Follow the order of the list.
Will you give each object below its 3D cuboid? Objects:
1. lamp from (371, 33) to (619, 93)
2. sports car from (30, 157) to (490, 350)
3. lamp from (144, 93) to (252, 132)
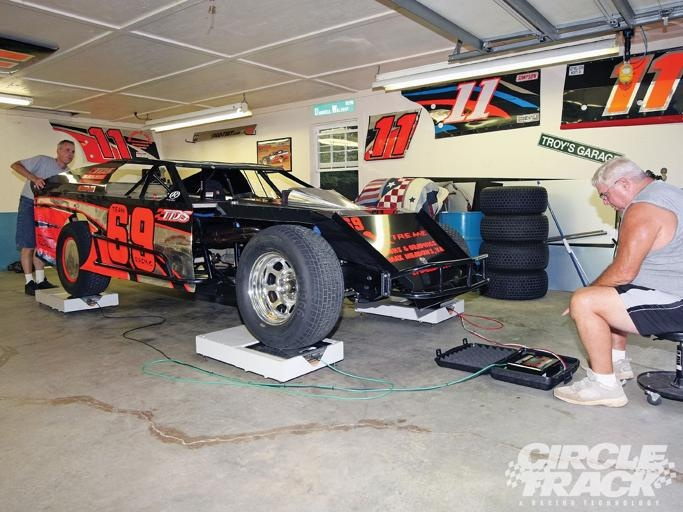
[{"bbox_3d":[2.056,-2.437,5.935,2.810,0.459,1.246,8,15,35],"label":"lamp"},{"bbox_3d":[-1.296,-0.148,4.654,4.612,0.956,2.039,5,7,31],"label":"sports car"},{"bbox_3d":[-2.564,-2.499,8.474,2.451,0.323,0.496,9,17,39],"label":"lamp"}]
